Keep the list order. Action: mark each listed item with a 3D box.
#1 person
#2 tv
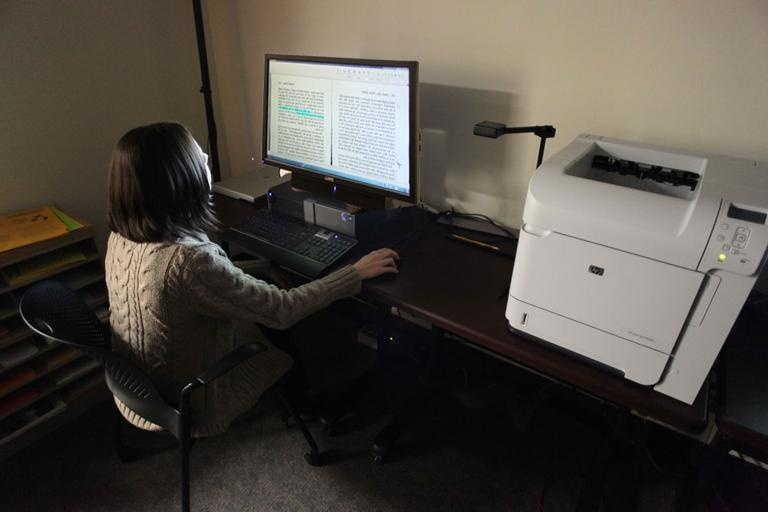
[{"bbox_3d":[-0.587,-0.019,2.239,0.964,1.050,0.817,-16,28,-37],"label":"person"},{"bbox_3d":[-0.212,-0.537,2.249,0.840,0.593,0.076,17,28,33],"label":"tv"}]
